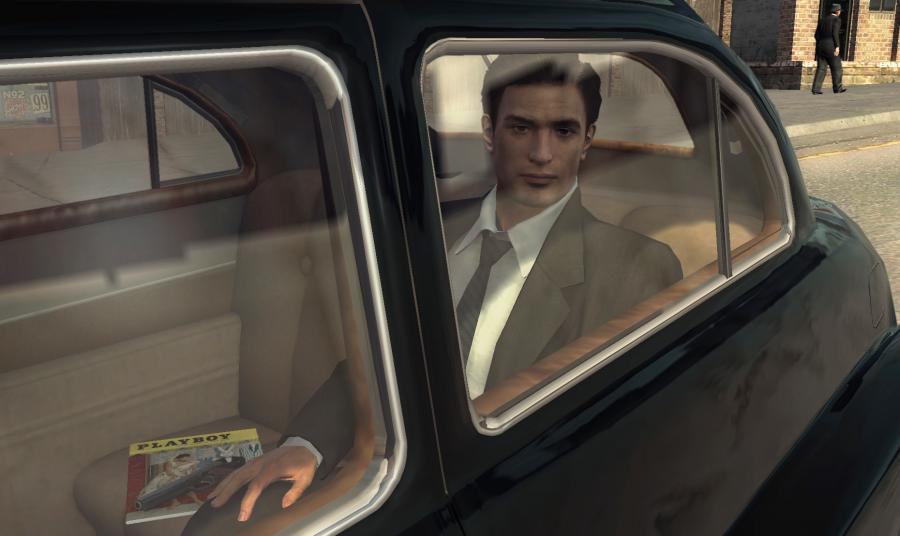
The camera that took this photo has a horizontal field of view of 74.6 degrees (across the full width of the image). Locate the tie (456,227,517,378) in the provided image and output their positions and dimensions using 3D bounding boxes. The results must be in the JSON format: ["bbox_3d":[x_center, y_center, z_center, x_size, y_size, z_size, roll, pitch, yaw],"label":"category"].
[{"bbox_3d":[0.067,0.051,1.705,0.117,0.348,0.030,19,9,-43],"label":"tie"}]

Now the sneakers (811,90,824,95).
[{"bbox_3d":[10.308,-4.918,16.502,0.237,0.145,0.686,7,18,26],"label":"sneakers"}]
